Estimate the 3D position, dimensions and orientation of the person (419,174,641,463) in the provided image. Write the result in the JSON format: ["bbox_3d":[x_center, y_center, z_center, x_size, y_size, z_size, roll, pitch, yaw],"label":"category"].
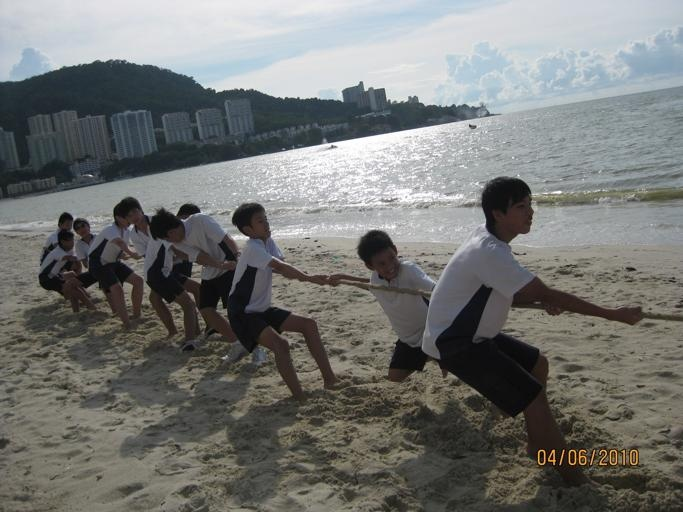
[{"bbox_3d":[1.180,0.460,3.934,1.224,2.034,0.467,-12,12,5],"label":"person"}]

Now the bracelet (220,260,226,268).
[{"bbox_3d":[-1.354,0.093,6.400,0.068,0.062,0.078,0,-9,4],"label":"bracelet"}]

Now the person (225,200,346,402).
[{"bbox_3d":[-0.602,0.578,5.389,1.012,1.552,0.679,-11,11,8],"label":"person"}]

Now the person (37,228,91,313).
[{"bbox_3d":[-4.580,0.214,9.022,0.704,1.301,1.280,-18,12,-26],"label":"person"}]
